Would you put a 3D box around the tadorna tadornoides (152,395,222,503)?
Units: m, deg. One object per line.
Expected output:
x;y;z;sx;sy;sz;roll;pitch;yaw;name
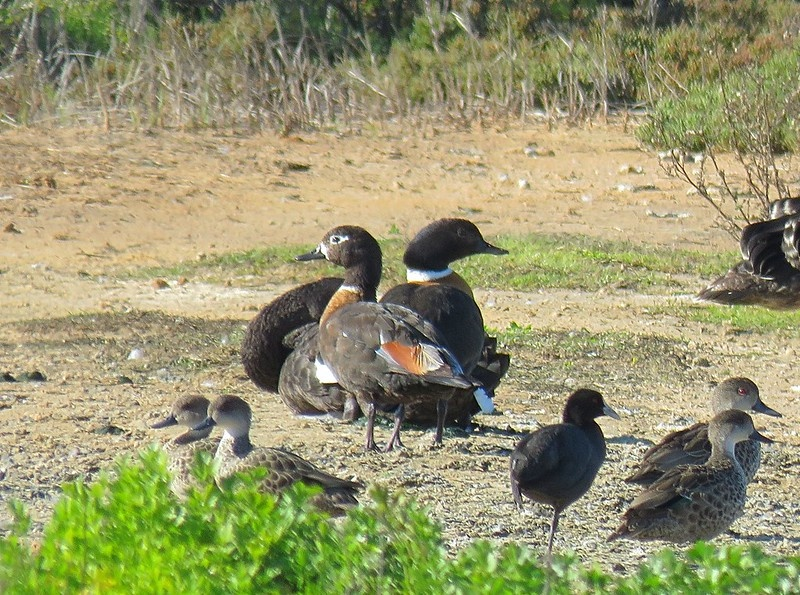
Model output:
-1.727;1.263;13.448;0.615;0.336;0.839;3;50;6;tadorna tadornoides

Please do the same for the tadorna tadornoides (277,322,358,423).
-0.878;0.748;15.270;0.561;0.731;0.979;-6;12;-26;tadorna tadornoides
